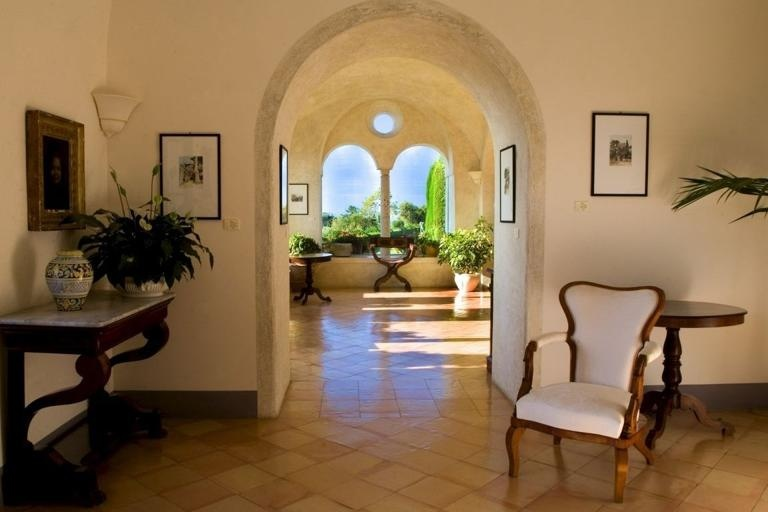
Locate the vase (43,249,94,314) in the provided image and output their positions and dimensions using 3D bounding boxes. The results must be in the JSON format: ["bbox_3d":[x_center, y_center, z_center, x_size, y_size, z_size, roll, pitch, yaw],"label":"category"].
[{"bbox_3d":[-2.457,0.182,4.151,0.357,0.437,0.349,2,0,-15],"label":"vase"}]

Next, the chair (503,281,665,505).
[{"bbox_3d":[1.652,1.004,4.345,0.976,1.454,1.067,6,11,33],"label":"chair"}]

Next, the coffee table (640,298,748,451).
[{"bbox_3d":[2.715,0.995,5.116,1.165,1.059,1.171,-3,9,-4],"label":"coffee table"}]

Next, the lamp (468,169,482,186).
[{"bbox_3d":[2.030,-1.735,11.972,0.281,0.302,0.283,2,9,8],"label":"lamp"}]

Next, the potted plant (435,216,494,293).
[{"bbox_3d":[1.827,-0.071,11.581,1.425,1.580,1.344,-2,4,-5],"label":"potted plant"}]

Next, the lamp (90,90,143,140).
[{"bbox_3d":[-2.550,-1.298,5.022,0.457,0.361,0.457,6,3,1],"label":"lamp"}]

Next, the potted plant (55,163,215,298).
[{"bbox_3d":[-2.093,-0.241,4.730,1.130,0.824,1.140,4,7,4],"label":"potted plant"}]
